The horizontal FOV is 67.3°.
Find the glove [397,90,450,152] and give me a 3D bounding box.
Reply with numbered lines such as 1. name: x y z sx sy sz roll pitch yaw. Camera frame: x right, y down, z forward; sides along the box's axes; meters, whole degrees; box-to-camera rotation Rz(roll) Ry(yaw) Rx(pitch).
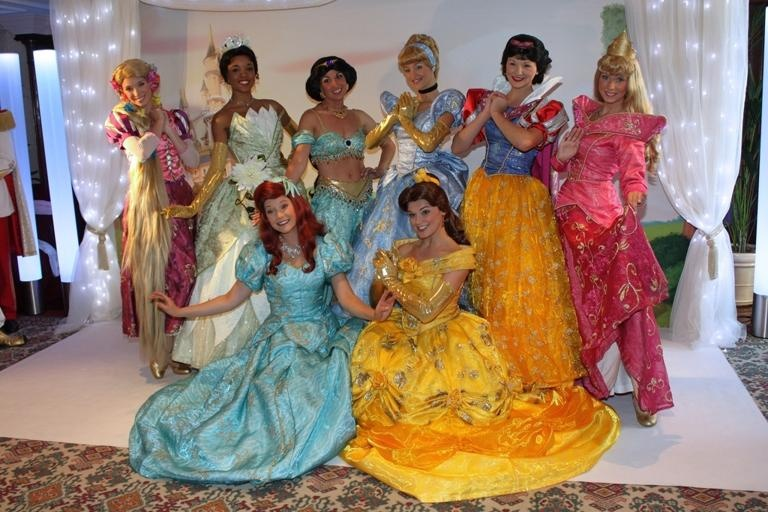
1. glove: 0.271 -0.944 4.173 0.399 0.421 0.158 19 -16 -29

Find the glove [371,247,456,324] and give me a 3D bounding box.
1. glove: 0.167 0.207 3.866 0.529 0.230 0.408 44 56 13

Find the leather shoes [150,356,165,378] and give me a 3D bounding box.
1. leather shoes: -1.796 0.893 4.570 0.109 0.057 0.148 35 15 -37

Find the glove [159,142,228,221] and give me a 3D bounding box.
1. glove: -1.408 -0.542 4.485 0.281 0.825 0.246 25 1 12

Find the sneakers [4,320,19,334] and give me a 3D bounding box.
1. sneakers: -3.535 0.667 5.461 0.100 0.117 0.256 4 -11 -40
